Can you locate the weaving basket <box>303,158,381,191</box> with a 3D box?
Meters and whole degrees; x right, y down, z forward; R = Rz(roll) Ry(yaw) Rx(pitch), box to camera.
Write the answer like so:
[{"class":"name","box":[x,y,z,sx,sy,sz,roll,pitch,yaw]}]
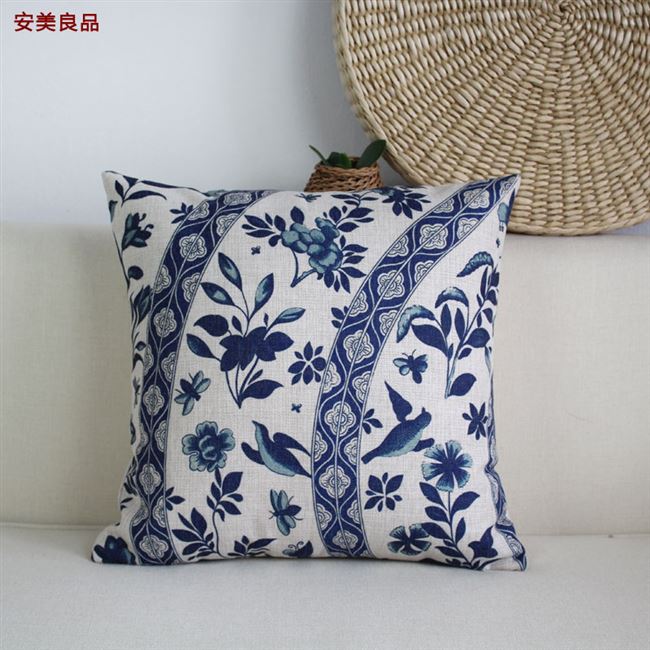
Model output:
[{"class":"weaving basket","box":[0.017,-0.230,1.852,0.077,0.034,0.082,5,11,42]}]
